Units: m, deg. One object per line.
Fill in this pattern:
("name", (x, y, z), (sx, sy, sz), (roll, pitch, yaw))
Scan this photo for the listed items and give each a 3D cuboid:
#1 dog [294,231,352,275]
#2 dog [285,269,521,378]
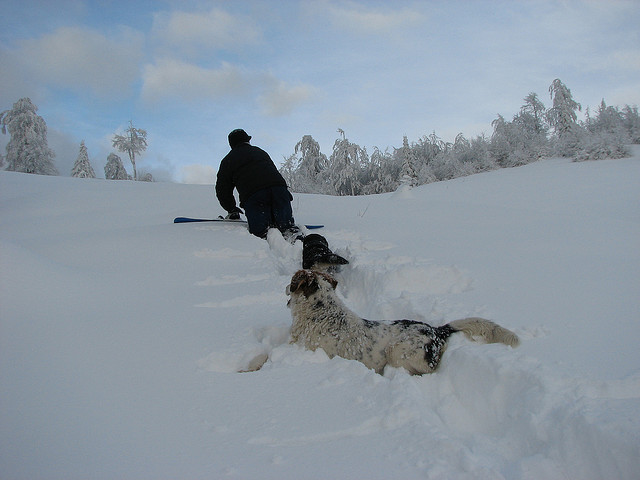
("dog", (-0.036, 0.119, 5.803), (0.353, 0.345, 0.824), (9, 7, -24))
("dog", (0.689, 0.916, 4.435), (2.158, 0.970, 0.738), (11, -27, 3))
